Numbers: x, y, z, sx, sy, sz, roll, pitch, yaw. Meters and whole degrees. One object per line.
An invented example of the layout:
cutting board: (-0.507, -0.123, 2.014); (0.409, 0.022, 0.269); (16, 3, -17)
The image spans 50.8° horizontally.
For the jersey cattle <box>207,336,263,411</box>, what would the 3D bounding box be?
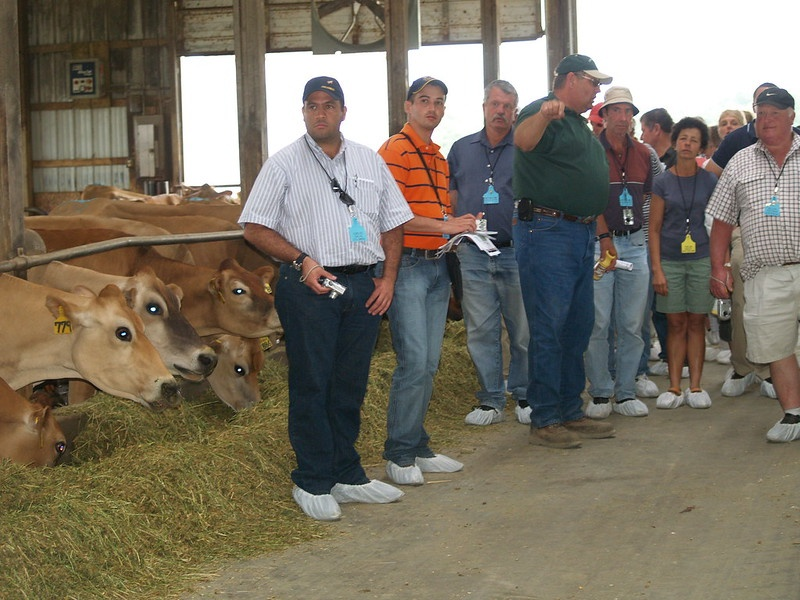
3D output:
jersey cattle: (-1.128, 0.505, 5.776); (0.396, 0.497, 0.582); (-1, -2, 23)

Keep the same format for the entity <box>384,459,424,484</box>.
entity: (0.024, 0.983, 4.806); (0.134, 0.060, 0.174); (4, 1, -27)

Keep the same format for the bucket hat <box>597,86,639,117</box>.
bucket hat: (1.530, -1.414, 5.972); (0.277, 0.117, 0.221); (6, -7, -12)

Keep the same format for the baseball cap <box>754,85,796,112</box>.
baseball cap: (2.395, -1.273, 5.379); (0.221, 0.098, 0.152); (14, 5, -36)

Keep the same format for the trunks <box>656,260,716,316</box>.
trunks: (2.132, -0.106, 6.302); (0.490, 0.395, 0.261); (-1, -6, 13)

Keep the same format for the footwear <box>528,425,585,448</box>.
footwear: (0.997, 0.889, 5.458); (0.335, 0.133, 0.125); (-3, 2, 32)

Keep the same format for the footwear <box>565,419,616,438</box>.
footwear: (1.269, 0.858, 5.644); (0.337, 0.109, 0.119); (0, 2, 24)

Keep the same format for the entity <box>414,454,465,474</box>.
entity: (0.232, 0.973, 5.016); (0.212, 0.062, 0.122); (-2, 1, 1)

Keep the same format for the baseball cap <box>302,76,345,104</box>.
baseball cap: (-0.394, -1.083, 4.324); (0.209, 0.131, 0.091); (-2, 15, -6)

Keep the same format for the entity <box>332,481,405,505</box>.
entity: (-0.170, 1.050, 4.615); (0.385, 0.104, 0.136); (-3, -4, 4)

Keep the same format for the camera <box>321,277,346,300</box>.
camera: (-0.340, -0.057, 4.232); (0.045, 0.101, 0.102); (-7, -35, -17)

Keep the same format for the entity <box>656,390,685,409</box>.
entity: (2.021, 0.749, 6.277); (0.249, 0.116, 0.113); (-5, 15, -18)

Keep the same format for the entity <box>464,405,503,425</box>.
entity: (0.596, 0.834, 6.060); (0.243, 0.079, 0.124); (3, -11, -29)

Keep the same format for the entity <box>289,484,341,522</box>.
entity: (-0.435, 1.071, 4.371); (0.136, 0.063, 0.234); (20, -12, -33)

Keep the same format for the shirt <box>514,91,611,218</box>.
shirt: (1.011, -0.852, 5.287); (0.591, 0.685, 0.335); (0, 15, 5)

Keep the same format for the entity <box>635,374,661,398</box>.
entity: (1.980, 0.700, 6.810); (0.155, 0.077, 0.205); (-2, 17, -4)

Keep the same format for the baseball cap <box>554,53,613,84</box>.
baseball cap: (1.125, -1.431, 5.208); (0.322, 0.133, 0.184); (0, 11, 8)
